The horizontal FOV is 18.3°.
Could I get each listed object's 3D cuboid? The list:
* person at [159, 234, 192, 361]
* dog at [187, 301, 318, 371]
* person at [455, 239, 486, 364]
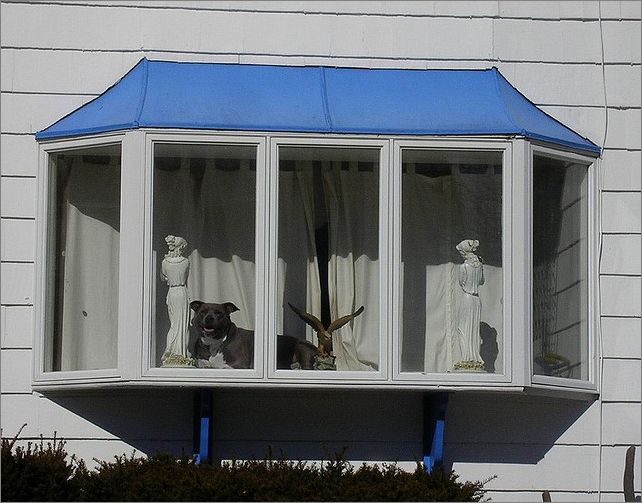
[{"bbox_3d":[-0.958,0.333,13.064,0.201,0.829,0.086,2,-13,-11],"label":"person"},{"bbox_3d":[-0.461,0.655,13.261,0.953,0.464,0.372,10,-20,-4],"label":"dog"},{"bbox_3d":[0.985,0.370,13.175,0.183,0.843,0.102,-1,-13,3],"label":"person"}]
